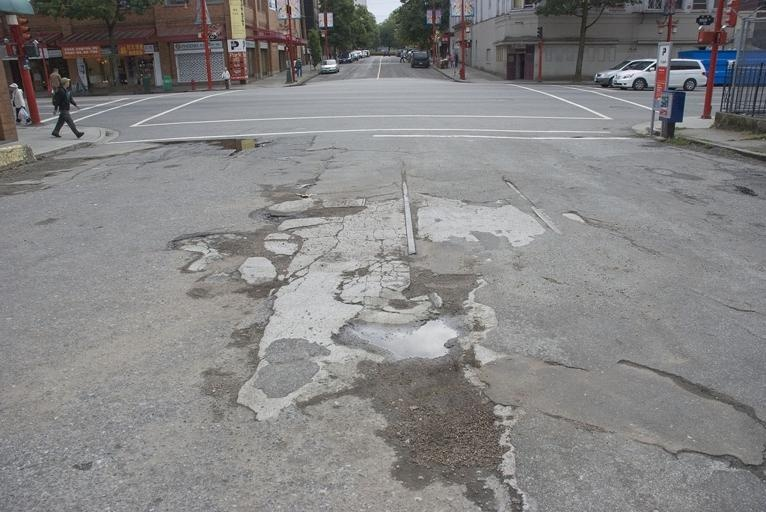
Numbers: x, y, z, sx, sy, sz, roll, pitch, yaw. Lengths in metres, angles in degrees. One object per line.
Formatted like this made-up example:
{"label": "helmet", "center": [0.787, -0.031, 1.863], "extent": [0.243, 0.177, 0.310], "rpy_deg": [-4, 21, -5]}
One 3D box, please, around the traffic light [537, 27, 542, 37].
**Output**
{"label": "traffic light", "center": [14.850, -19.957, 44.978], "extent": [0.304, 0.786, 1.080], "rpy_deg": [11, 27, 24]}

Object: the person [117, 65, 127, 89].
{"label": "person", "center": [-29.237, -19.075, 52.912], "extent": [0.952, 1.987, 0.761], "rpy_deg": [14, 30, 30]}

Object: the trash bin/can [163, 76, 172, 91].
{"label": "trash bin/can", "center": [-20.359, -15.372, 44.512], "extent": [0.514, 1.028, 0.538], "rpy_deg": [-8, 26, -14]}

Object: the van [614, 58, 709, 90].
{"label": "van", "center": [21.371, -13.062, 36.080], "extent": [6.779, 1.961, 2.138], "rpy_deg": [-7, 25, -14]}
